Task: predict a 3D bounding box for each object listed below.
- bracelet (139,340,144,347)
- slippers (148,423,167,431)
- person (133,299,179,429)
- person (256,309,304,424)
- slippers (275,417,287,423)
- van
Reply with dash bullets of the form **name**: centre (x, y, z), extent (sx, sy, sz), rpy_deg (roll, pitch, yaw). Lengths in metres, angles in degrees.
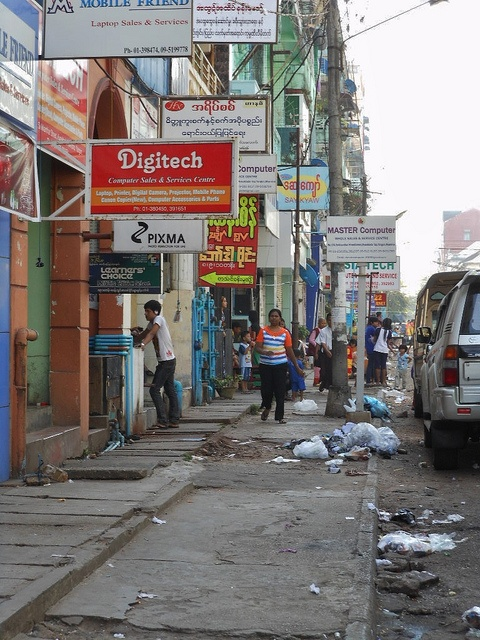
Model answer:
- **bracelet**: centre (-1.337, 0.331, 12.441), extent (0.060, 0.109, 0.096), rpy_deg (2, -3, 7)
- **slippers**: centre (-1.155, 1.508, 12.745), extent (0.229, 0.112, 0.088), rpy_deg (4, -6, -13)
- **person**: centre (-1.150, 0.612, 12.488), extent (0.545, 1.798, 1.261), rpy_deg (0, -2, -1)
- **person**: centre (0.497, 0.690, 13.335), extent (0.492, 1.684, 0.596), rpy_deg (-1, -2, 10)
- **slippers**: centre (0.597, 1.492, 13.515), extent (0.075, 0.069, 0.221), rpy_deg (-1, -7, -8)
- **van**: centre (3.787, 0.112, 16.154), extent (1.400, 1.722, 2.603), rpy_deg (-1, 0, 7)
